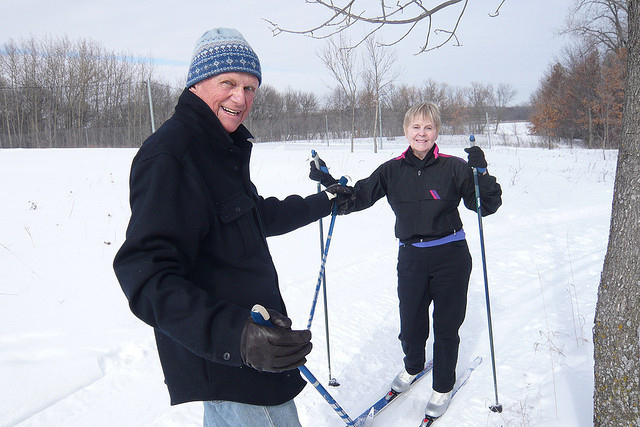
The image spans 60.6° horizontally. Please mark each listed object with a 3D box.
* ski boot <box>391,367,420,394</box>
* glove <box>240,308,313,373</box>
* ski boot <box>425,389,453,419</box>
[{"bbox_3d":[1.107,2.153,7.198,0.487,0.199,0.156,-43,36,-25],"label":"ski boot"},{"bbox_3d":[-0.389,1.221,5.409,0.641,0.678,0.487,5,-8,10],"label":"glove"},{"bbox_3d":[1.492,2.332,6.867,0.148,0.199,0.474,-1,22,33],"label":"ski boot"}]
